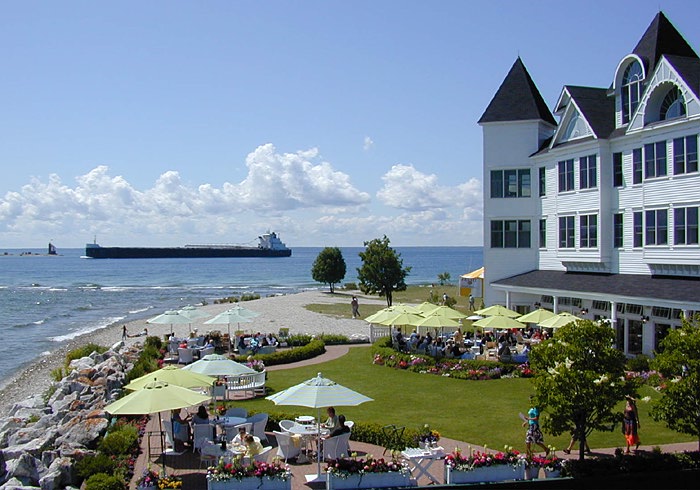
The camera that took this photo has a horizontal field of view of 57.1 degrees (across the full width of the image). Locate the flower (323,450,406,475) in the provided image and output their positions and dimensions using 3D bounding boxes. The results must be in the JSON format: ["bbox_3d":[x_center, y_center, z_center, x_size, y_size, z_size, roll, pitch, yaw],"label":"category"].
[{"bbox_3d":[0.490,7.614,22.271,2.488,0.534,0.440,1,-3,-2],"label":"flower"}]

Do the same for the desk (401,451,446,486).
[{"bbox_3d":[2.538,7.928,23.068,1.234,0.994,1.079,1,-7,-6],"label":"desk"}]

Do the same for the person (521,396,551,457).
[{"bbox_3d":[7.139,7.041,24.814,1.001,2.105,0.703,3,-8,3],"label":"person"}]

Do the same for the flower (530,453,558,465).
[{"bbox_3d":[6.869,7.613,22.800,0.506,0.224,0.517,-1,-5,19],"label":"flower"}]

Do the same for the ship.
[{"bbox_3d":[-64.711,0.563,267.532,62.371,10.719,77.744,3,-3,-37],"label":"ship"}]
